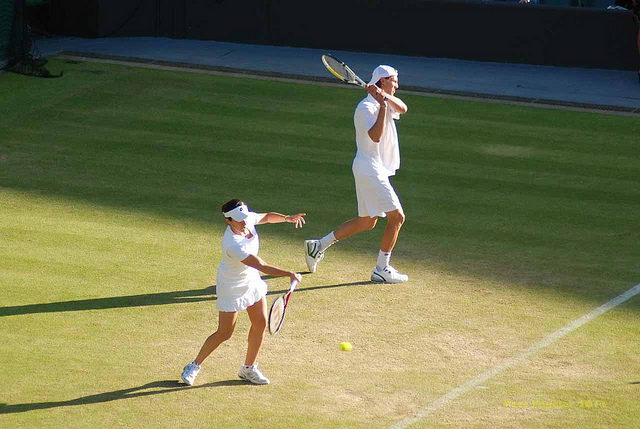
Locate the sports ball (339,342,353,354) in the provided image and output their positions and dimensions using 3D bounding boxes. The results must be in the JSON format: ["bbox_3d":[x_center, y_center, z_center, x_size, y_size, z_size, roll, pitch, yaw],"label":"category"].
[{"bbox_3d":[0.338,1.837,13.667,0.148,0.075,0.168,15,7,23],"label":"sports ball"}]

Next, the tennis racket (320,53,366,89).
[{"bbox_3d":[0.356,-2.211,15.170,0.724,0.388,1.746,9,9,-2],"label":"tennis racket"}]

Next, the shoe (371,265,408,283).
[{"bbox_3d":[1.028,0.934,15.139,0.619,0.177,0.205,0,4,-5],"label":"shoe"}]

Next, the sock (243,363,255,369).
[{"bbox_3d":[-0.947,1.986,12.976,0.129,0.075,0.025,10,12,3],"label":"sock"}]

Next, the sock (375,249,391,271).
[{"bbox_3d":[0.969,0.695,15.182,0.210,0.324,0.180,15,12,2],"label":"sock"}]

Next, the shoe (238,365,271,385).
[{"bbox_3d":[-0.898,2.110,13.005,0.506,0.171,0.175,13,7,-5],"label":"shoe"}]

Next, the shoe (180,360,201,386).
[{"bbox_3d":[-1.716,2.064,13.013,0.212,0.328,0.244,13,12,-5],"label":"shoe"}]

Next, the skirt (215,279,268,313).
[{"bbox_3d":[-1.097,1.060,13.015,0.824,0.355,0.430,-7,2,-24],"label":"skirt"}]

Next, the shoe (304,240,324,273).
[{"bbox_3d":[-0.128,0.649,15.392,0.338,0.499,0.198,-10,19,0],"label":"shoe"}]
